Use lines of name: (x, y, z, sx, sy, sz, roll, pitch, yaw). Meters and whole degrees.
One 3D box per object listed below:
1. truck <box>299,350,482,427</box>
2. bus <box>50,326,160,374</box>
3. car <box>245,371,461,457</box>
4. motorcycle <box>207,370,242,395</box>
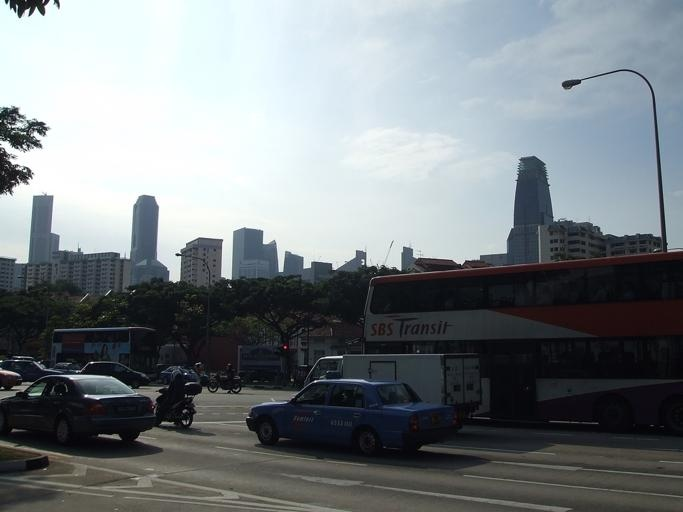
truck: (1.918, 4.279, 23.693, 5.281, 2.518, 2.684, -2, -9, 26)
bus: (-18.779, 7.264, 50.557, 9.415, 4.321, 3.491, -2, -5, 24)
car: (0.291, 4.273, 18.244, 4.665, 1.640, 2.188, -1, -7, 29)
motorcycle: (-7.267, 8.139, 42.823, 2.103, 1.437, 1.413, 0, -10, 28)
